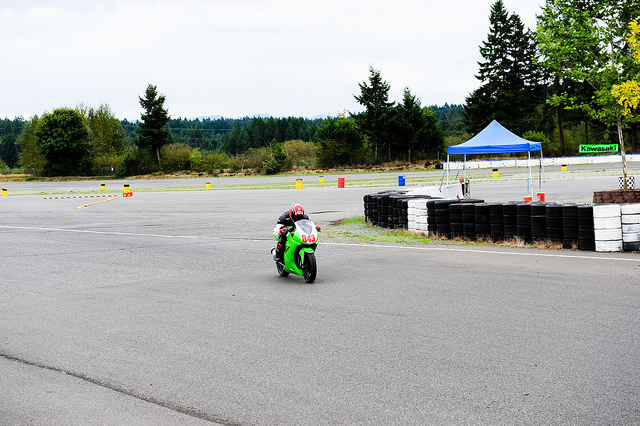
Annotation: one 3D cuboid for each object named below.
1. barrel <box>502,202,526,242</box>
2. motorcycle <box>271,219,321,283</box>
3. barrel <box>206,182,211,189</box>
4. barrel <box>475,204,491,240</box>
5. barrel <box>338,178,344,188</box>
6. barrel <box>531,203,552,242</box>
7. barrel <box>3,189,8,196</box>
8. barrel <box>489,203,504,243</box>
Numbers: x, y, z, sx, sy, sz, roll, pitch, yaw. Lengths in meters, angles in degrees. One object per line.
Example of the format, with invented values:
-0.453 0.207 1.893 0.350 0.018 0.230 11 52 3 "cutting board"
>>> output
4.865 0.192 14.818 0.746 0.934 0.785 -1 3 0 "barrel"
-0.390 0.747 11.483 0.750 1.206 0.384 1 8 20 "motorcycle"
-9.617 -2.378 50.329 0.468 0.563 0.465 -5 9 -38 "barrel"
4.322 0.180 15.670 0.659 0.819 0.704 -2 1 12 "barrel"
1.628 -2.309 44.040 0.532 1.089 0.558 1 -5 0 "barrel"
5.681 0.270 14.527 0.585 1.070 0.618 -1 -1 0 "barrel"
-27.240 -1.836 50.180 0.360 0.482 4.178 -6 10 -29 "barrel"
4.609 0.244 15.079 0.369 0.985 0.220 1 8 18 "barrel"
